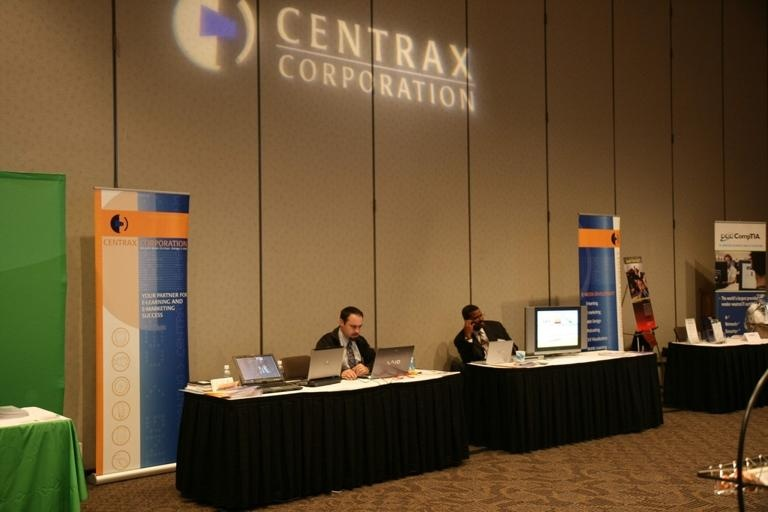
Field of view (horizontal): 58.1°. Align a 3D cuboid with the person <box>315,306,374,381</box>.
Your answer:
[{"bbox_3d":[-0.379,0.994,7.870,0.700,1.042,0.662,1,-10,-36],"label":"person"}]

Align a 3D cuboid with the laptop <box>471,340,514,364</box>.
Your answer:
[{"bbox_3d":[1.374,1.127,8.158,0.311,0.257,0.248,0,-3,-7],"label":"laptop"}]

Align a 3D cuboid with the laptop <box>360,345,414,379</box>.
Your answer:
[{"bbox_3d":[0.092,1.140,7.422,0.422,0.295,0.303,0,8,-43],"label":"laptop"}]

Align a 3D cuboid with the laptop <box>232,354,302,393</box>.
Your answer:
[{"bbox_3d":[-1.198,1.166,6.943,0.418,0.284,0.406,4,-8,-42],"label":"laptop"}]

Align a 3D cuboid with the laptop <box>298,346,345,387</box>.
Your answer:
[{"bbox_3d":[-0.664,1.108,7.272,0.311,0.382,0.400,0,-2,41],"label":"laptop"}]
